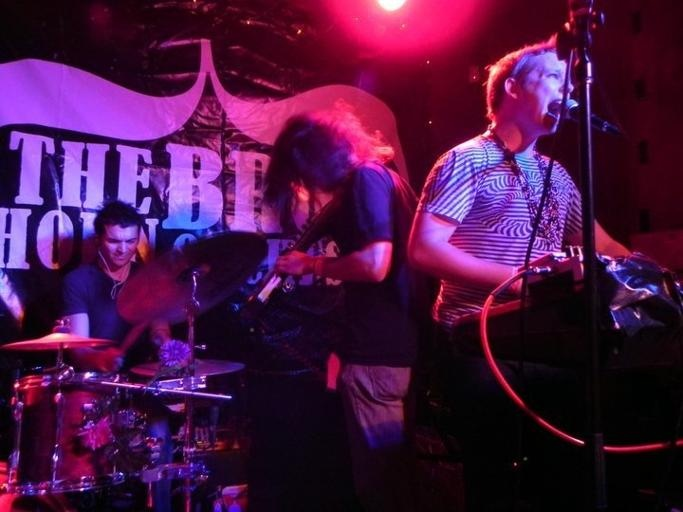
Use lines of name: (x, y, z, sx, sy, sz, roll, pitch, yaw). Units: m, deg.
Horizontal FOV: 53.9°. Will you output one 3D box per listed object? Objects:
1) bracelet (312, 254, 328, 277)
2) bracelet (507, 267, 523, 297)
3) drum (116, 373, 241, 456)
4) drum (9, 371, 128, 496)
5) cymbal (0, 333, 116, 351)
bracelet: (-0.112, 0.047, 3.335, 0.082, 0.093, 0.085, 8, -37, 0)
bracelet: (0.700, 0.101, 2.757, 0.041, 0.112, 0.078, 9, 9, -5)
drum: (-0.868, 0.910, 3.816, 0.718, 0.500, 0.741, -3, -6, 0)
drum: (-1.499, 0.970, 3.744, 0.589, 0.592, 0.616, -8, -17, 18)
cymbal: (-1.592, 0.477, 3.684, 0.307, 0.101, 0.321, -2, -4, 5)
